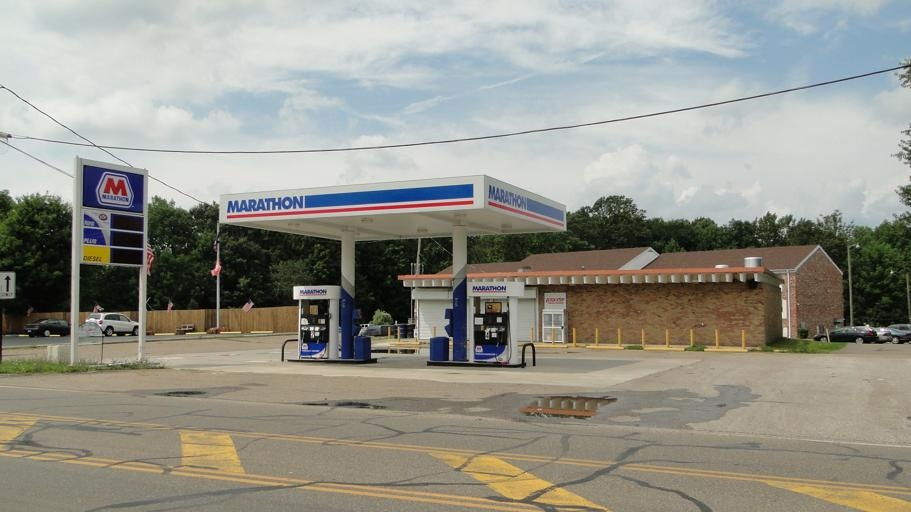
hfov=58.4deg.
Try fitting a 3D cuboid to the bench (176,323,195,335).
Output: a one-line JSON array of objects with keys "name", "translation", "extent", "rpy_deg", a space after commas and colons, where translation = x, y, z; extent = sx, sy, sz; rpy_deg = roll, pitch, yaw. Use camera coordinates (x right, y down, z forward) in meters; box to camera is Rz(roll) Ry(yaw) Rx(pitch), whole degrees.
[{"name": "bench", "translation": [-22.476, 6.006, 67.109], "extent": [1.153, 0.605, 1.038], "rpy_deg": [-3, -13, 3]}]

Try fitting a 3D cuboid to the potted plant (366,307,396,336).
[{"name": "potted plant", "translation": [-5.561, 5.277, 62.464], "extent": [2.251, 1.633, 2.583], "rpy_deg": [-1, -3, 2]}]

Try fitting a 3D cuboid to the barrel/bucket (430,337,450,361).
[{"name": "barrel/bucket", "translation": [-0.793, 4.282, 37.652], "extent": [1.125, 1.018, 1.191], "rpy_deg": [-1, -2, 0]}]

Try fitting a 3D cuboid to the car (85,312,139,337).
[{"name": "car", "translation": [-24.847, 4.977, 59.111], "extent": [1.814, 1.626, 3.441], "rpy_deg": [1, 1, 25]}]

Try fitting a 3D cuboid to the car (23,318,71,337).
[{"name": "car", "translation": [-29.892, 5.270, 59.729], "extent": [3.121, 0.830, 1.313], "rpy_deg": [-4, 0, -13]}]
